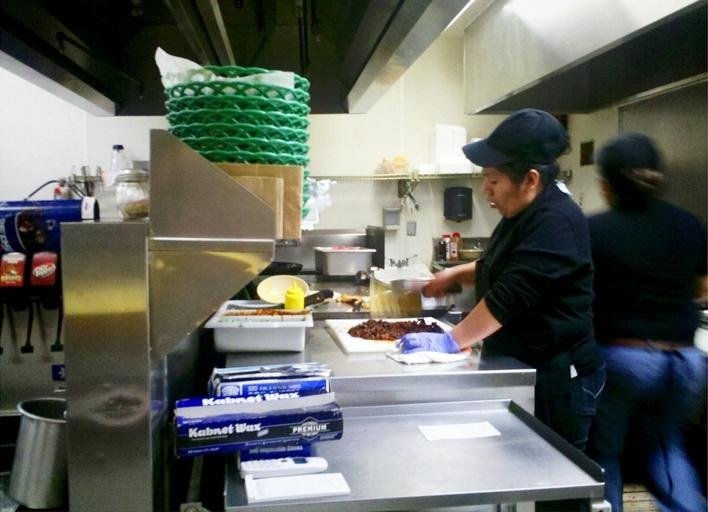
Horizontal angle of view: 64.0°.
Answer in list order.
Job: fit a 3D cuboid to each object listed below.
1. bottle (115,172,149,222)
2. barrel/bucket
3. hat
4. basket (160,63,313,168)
[{"bbox_3d":[-0.676,-0.188,1.732,0.146,0.150,0.064,5,10,15],"label":"bottle"},{"bbox_3d":[-1.025,0.659,1.821,0.196,0.311,0.096,8,11,27],"label":"barrel/bucket"},{"bbox_3d":[0.685,-0.521,2.380,0.469,0.207,0.276,0,27,5],"label":"hat"},{"bbox_3d":[-0.355,-0.409,1.739,0.398,0.218,0.322,2,4,1],"label":"basket"}]
